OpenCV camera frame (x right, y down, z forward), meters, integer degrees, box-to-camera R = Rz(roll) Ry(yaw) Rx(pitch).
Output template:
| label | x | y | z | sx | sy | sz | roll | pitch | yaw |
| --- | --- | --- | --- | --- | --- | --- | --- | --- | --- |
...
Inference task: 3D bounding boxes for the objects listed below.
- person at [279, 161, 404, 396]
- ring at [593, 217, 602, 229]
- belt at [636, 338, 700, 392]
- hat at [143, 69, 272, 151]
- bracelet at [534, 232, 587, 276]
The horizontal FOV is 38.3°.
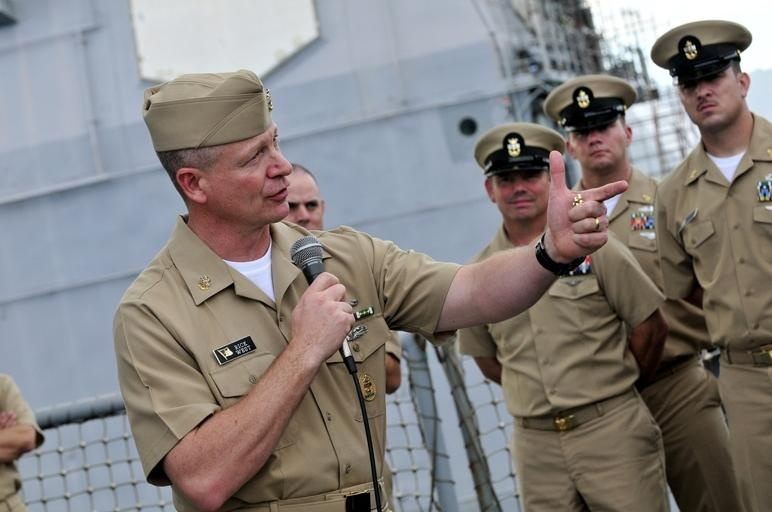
| label | x | y | z | sx | sy | sz | roll | pitch | yaw |
| --- | --- | --- | --- | --- | --- | --- | --- | --- | --- |
| person | -0.295 | -0.188 | 7.359 | 0.480 | 2.136 | 0.635 | -9 | -3 | -7 |
| ring | 1.052 | -0.155 | 5.532 | 0.016 | 0.044 | 0.045 | -2 | 7 | -8 |
| belt | 1.863 | 0.689 | 7.313 | 0.327 | 0.175 | 0.252 | -27 | -4 | -10 |
| hat | -0.908 | -0.727 | 5.681 | 0.519 | 0.242 | 0.408 | -2 | 25 | 16 |
| bracelet | 0.877 | -0.016 | 5.642 | 0.234 | 0.226 | 0.111 | -13 | 0 | 5 |
